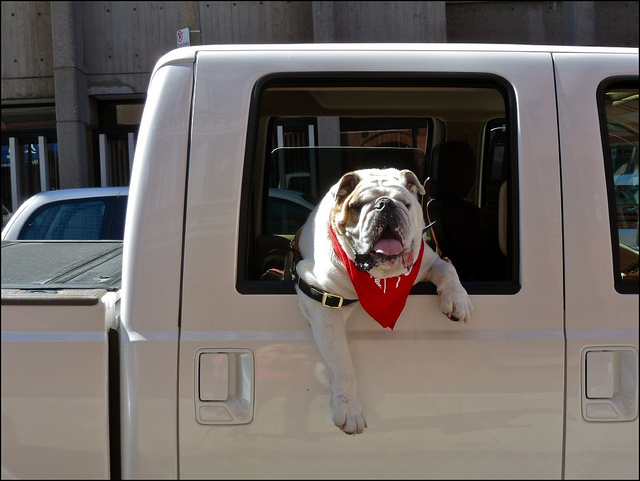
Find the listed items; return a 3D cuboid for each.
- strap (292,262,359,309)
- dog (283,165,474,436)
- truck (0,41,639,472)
[{"bbox_3d":[0.030,0.179,2.830,0.154,0.147,0.272,-2,11,1],"label":"strap"},{"bbox_3d":[0.238,0.245,2.958,0.839,1.112,0.530,0,2,5],"label":"dog"},{"bbox_3d":[0.142,0.153,3.467,2.728,1.542,2.097,-1,4,-2],"label":"truck"}]
